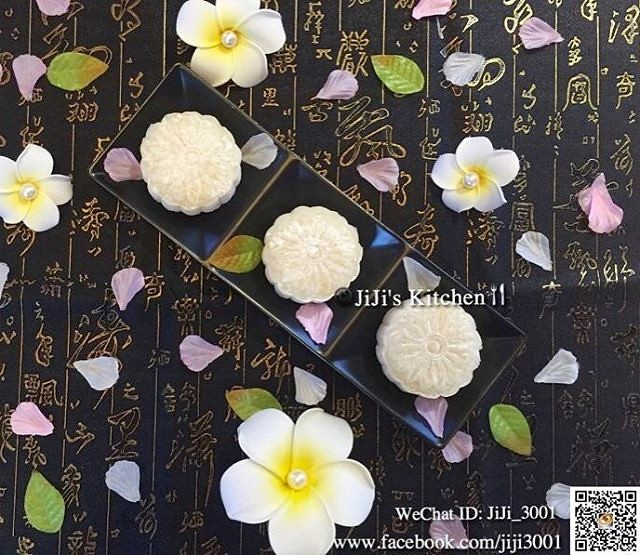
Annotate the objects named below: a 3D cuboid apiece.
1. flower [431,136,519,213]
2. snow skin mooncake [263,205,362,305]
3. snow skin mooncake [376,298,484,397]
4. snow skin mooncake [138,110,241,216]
[{"bbox_3d":[0.286,-0.191,1.950,0.140,0.168,0.053,16,35,3],"label":"flower"},{"bbox_3d":[-0.014,-0.044,1.909,0.172,0.046,0.168,7,76,5],"label":"snow skin mooncake"},{"bbox_3d":[0.194,0.123,1.913,0.188,0.061,0.174,11,76,6],"label":"snow skin mooncake"},{"bbox_3d":[-0.232,-0.211,1.906,0.174,0.045,0.164,-3,75,2],"label":"snow skin mooncake"}]
